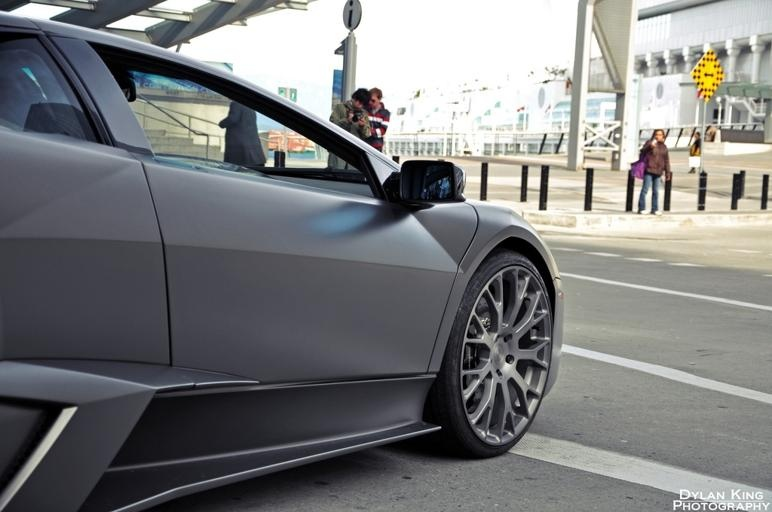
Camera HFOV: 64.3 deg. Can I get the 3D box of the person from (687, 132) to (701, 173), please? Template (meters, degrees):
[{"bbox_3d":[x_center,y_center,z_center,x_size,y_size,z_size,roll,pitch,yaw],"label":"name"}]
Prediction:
[{"bbox_3d":[13.111,-4.454,25.812,0.492,1.559,0.436,-7,10,-1],"label":"person"}]

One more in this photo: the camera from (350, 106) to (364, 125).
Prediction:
[{"bbox_3d":[-0.638,-3.071,13.371,0.259,0.351,0.161,7,3,-5],"label":"camera"}]

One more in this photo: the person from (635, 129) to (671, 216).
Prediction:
[{"bbox_3d":[7.871,-2.488,18.074,0.770,2.483,1.088,10,12,31],"label":"person"}]

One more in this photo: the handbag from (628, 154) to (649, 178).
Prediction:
[{"bbox_3d":[7.416,-2.616,18.057,0.432,0.592,0.461,1,10,-14],"label":"handbag"}]
